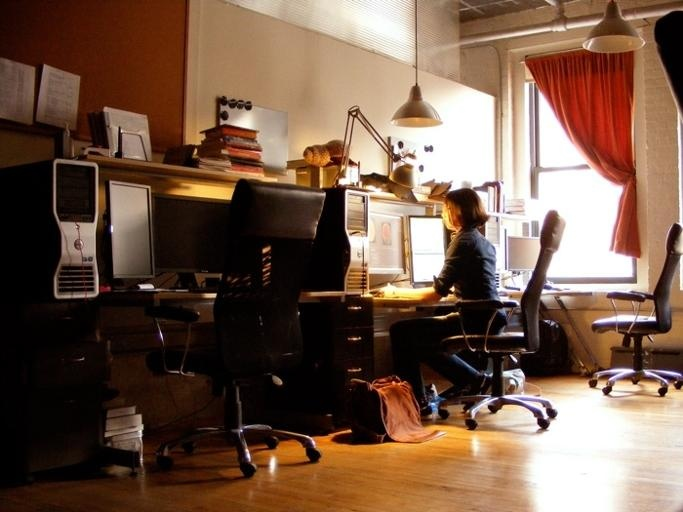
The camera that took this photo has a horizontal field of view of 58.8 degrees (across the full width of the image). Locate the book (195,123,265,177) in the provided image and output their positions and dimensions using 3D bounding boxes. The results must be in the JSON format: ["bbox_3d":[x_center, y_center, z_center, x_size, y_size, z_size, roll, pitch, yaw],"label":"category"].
[{"bbox_3d":[-0.747,-0.660,4.068,0.363,0.277,0.364,5,-7,-43],"label":"book"}]

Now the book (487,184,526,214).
[{"bbox_3d":[1.763,-0.749,6.539,0.302,0.550,0.559,-1,0,5],"label":"book"}]

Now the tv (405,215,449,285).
[{"bbox_3d":[0.705,-0.056,5.094,0.554,0.761,0.056,-4,4,-39],"label":"tv"}]

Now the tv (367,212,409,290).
[{"bbox_3d":[0.378,-0.066,5.031,0.091,0.850,0.624,6,7,39],"label":"tv"}]

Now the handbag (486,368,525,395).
[{"bbox_3d":[1.304,0.956,4.654,0.300,0.131,0.299,2,0,-11],"label":"handbag"}]

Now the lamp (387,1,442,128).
[{"bbox_3d":[0.668,-1.895,5.661,0.415,1.597,1.325,-1,-3,5],"label":"lamp"}]

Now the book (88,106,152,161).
[{"bbox_3d":[-1.372,-0.746,3.717,0.154,0.378,0.392,-9,-7,33],"label":"book"}]

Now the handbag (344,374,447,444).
[{"bbox_3d":[0.312,0.909,3.770,0.440,0.232,0.401,5,-1,39],"label":"handbag"}]

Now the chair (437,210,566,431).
[{"bbox_3d":[1.101,0.421,4.189,0.829,1.444,0.700,-1,-3,10],"label":"chair"}]
